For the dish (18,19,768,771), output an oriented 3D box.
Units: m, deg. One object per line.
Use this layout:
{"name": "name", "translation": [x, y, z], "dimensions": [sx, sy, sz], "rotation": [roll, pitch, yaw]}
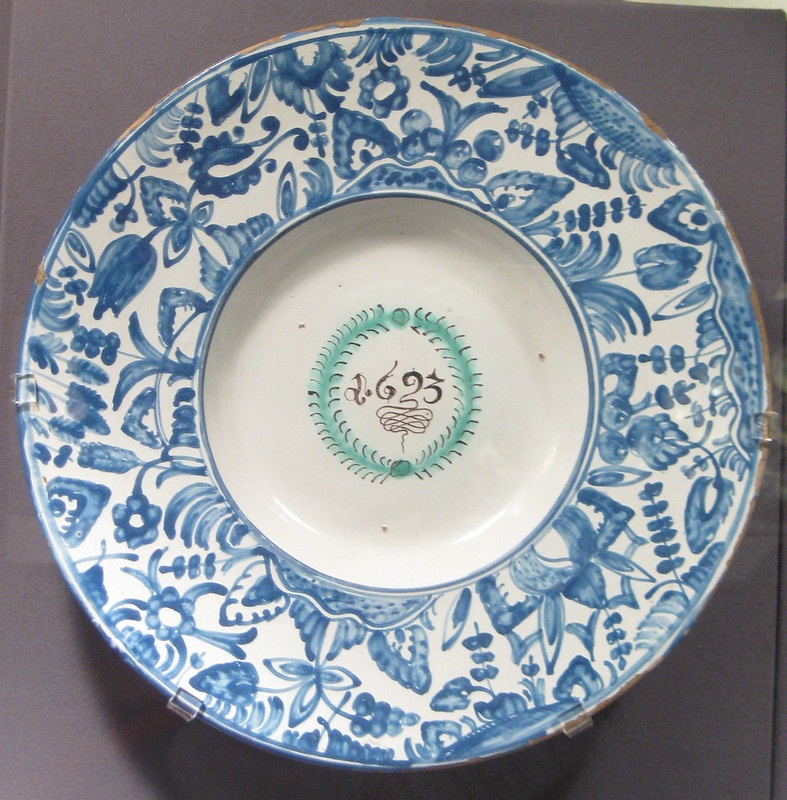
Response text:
{"name": "dish", "translation": [0.001, -0.008, 1.605], "dimensions": [0.762, 0.116, 0.752], "rotation": [15, 87, 0]}
